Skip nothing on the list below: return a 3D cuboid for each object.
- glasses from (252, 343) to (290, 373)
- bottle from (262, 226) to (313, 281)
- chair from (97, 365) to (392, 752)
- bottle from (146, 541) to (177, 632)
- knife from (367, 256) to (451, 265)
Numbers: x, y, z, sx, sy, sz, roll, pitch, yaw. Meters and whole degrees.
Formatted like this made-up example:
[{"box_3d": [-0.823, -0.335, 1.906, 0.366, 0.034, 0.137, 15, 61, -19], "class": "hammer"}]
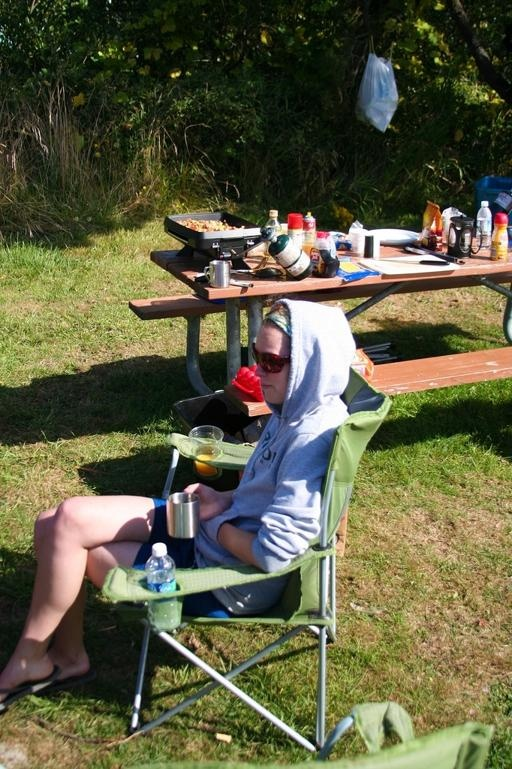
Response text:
[{"box_3d": [0.042, -0.073, 2.003, 0.085, 0.035, 0.082, -6, 25, -39], "class": "glasses"}, {"box_3d": [0.171, -0.657, 3.689, 0.217, 0.225, 0.196, -13, 23, -29], "class": "bottle"}, {"box_3d": [0.046, 0.519, 2.529, 1.048, 1.369, 1.233, 4, 23, -2], "class": "chair"}, {"box_3d": [-0.234, 0.530, 1.856, 0.097, 0.223, 0.201, 3, 10, -6], "class": "bottle"}, {"box_3d": [0.846, -0.687, 4.092, 0.374, 0.028, 0.081, -2, 22, -21], "class": "knife"}]
